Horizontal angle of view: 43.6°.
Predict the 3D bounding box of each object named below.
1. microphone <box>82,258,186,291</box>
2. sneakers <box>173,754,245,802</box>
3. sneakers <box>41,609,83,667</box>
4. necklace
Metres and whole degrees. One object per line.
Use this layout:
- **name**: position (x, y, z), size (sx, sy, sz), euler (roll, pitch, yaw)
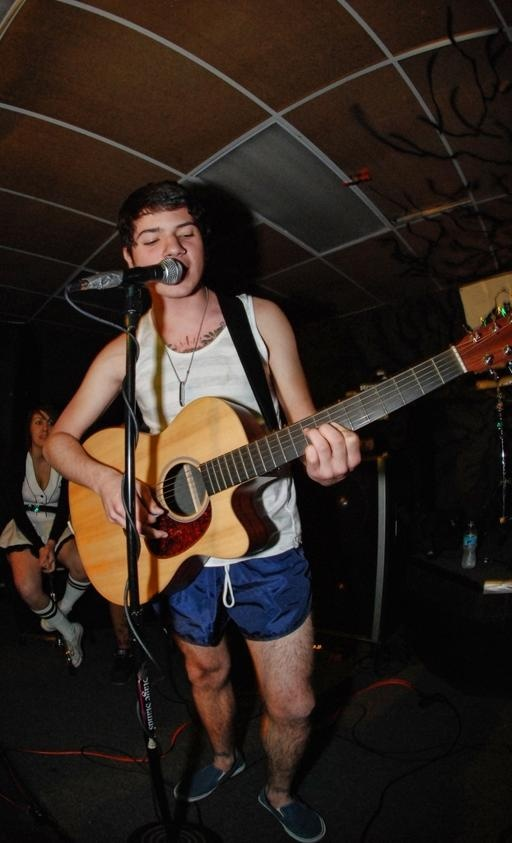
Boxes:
- **microphone**: position (-0.276, -0.327, 1.477), size (0.296, 0.079, 0.085), euler (-10, 10, -34)
- **sneakers**: position (-0.128, 1.010, 1.875), size (0.213, 0.076, 0.071), euler (-2, 18, -38)
- **sneakers**: position (-0.849, 0.950, 2.814), size (0.083, 0.239, 0.101), euler (-29, 19, -20)
- **necklace**: position (-0.187, -0.202, 1.742), size (0.101, 0.334, 0.047), euler (-2, -9, 12)
